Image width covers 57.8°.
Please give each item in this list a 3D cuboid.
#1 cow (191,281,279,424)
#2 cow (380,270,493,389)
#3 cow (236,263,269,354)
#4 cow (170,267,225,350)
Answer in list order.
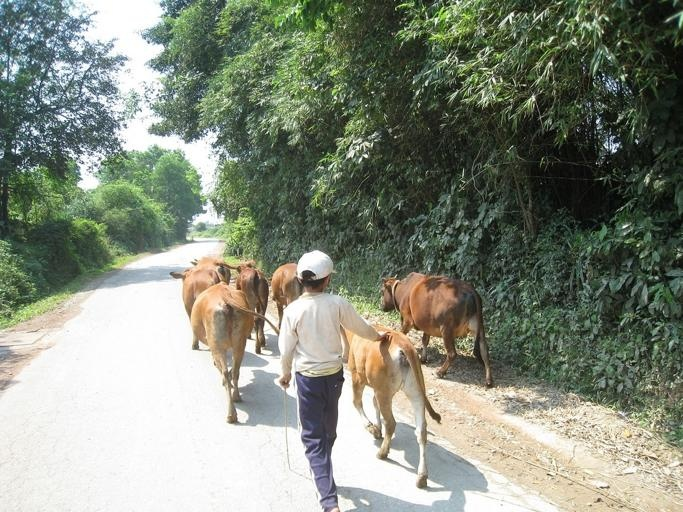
[{"bbox_3d":[-1.796,1.473,9.662,0.782,1.887,1.552,-5,6,-23],"label":"cow"},{"bbox_3d":[1.553,1.202,11.290,0.816,1.861,3.074,-2,6,-29],"label":"cow"},{"bbox_3d":[-1.873,0.962,12.899,0.610,1.695,2.807,-7,4,-13],"label":"cow"},{"bbox_3d":[-2.798,0.975,12.148,0.797,1.512,2.561,-5,2,-16],"label":"cow"}]
